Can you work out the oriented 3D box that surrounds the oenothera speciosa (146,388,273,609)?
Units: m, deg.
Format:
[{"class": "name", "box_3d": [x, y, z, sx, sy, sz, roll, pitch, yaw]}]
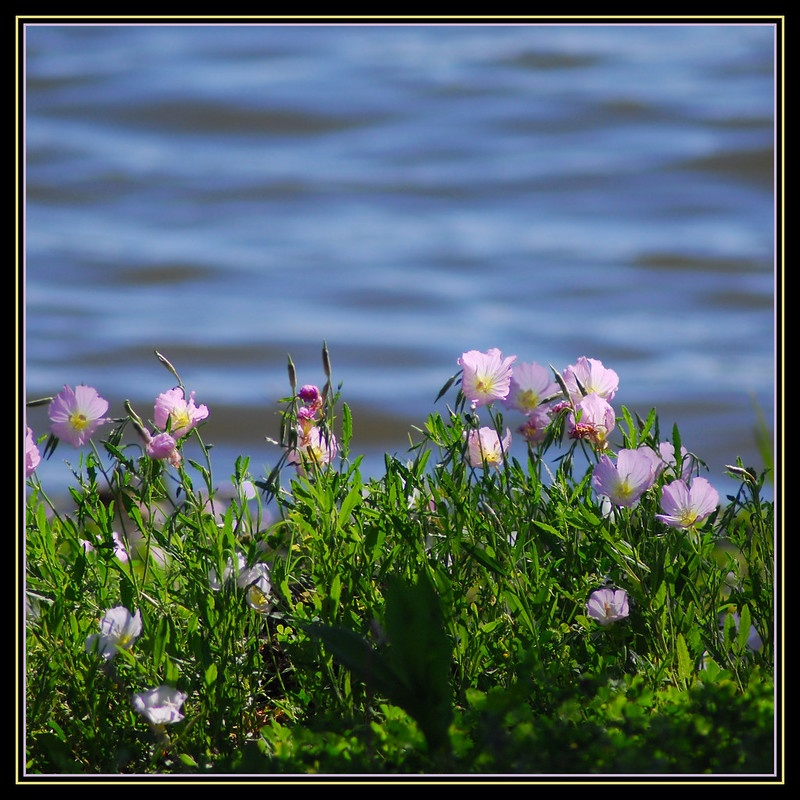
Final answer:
[{"class": "oenothera speciosa", "box_3d": [-0.385, 0.183, 2.467, 0.180, 0.437, 0.254, -8, -12, 22]}]

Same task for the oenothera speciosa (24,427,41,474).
[{"class": "oenothera speciosa", "box_3d": [-0.747, 0.107, 2.560, 0.023, 0.095, 0.066, -1, -11, -13]}]

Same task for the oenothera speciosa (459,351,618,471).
[{"class": "oenothera speciosa", "box_3d": [0.266, 0.036, 2.434, 0.237, 0.189, 0.289, 4, -38, -2]}]

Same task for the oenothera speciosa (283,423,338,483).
[{"class": "oenothera speciosa", "box_3d": [-0.174, 0.100, 2.532, 0.102, 0.102, 0.109, -3, -12, -4]}]

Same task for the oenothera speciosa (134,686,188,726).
[{"class": "oenothera speciosa", "box_3d": [-0.422, 0.562, 2.323, 0.089, 0.070, 0.153, -9, -13, 22]}]

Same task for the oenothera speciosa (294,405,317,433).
[{"class": "oenothera speciosa", "box_3d": [-0.186, 0.041, 2.524, 0.039, 0.051, 0.043, -2, -11, -8]}]

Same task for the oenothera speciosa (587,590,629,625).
[{"class": "oenothera speciosa", "box_3d": [0.400, 0.394, 2.401, 0.087, 0.068, 0.046, 2, -13, -28]}]

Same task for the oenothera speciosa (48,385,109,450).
[{"class": "oenothera speciosa", "box_3d": [-0.636, 0.040, 2.500, 0.108, 0.124, 0.038, -13, -33, -13]}]

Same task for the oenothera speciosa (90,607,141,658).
[{"class": "oenothera speciosa", "box_3d": [-0.534, 0.444, 2.371, 0.092, 0.049, 0.090, -9, 22, -37]}]

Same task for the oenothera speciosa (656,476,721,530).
[{"class": "oenothera speciosa", "box_3d": [0.543, 0.195, 2.332, 0.098, 0.057, 0.105, 15, 30, 0]}]
